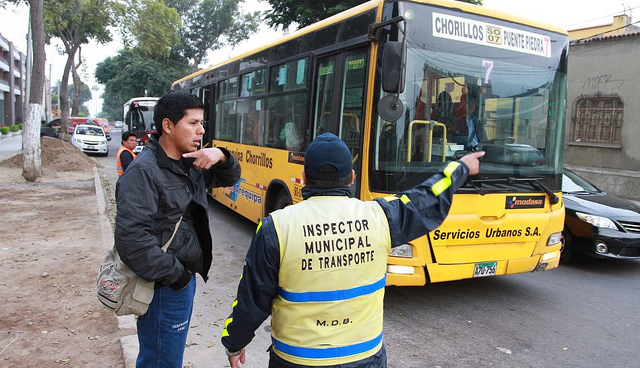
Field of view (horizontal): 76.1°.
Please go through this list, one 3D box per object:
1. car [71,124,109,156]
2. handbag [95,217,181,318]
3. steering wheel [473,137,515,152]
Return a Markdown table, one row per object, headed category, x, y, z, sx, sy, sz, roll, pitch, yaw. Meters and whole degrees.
| category | x | y | z | sx | sy | sz | roll | pitch | yaw |
| --- | --- | --- | --- | --- | --- | --- | --- | --- | --- |
| car | -14.611 | -2.787 | 25.759 | 1.525 | 1.310 | 2.864 | -1 | 3 | -29 |
| handbag | -2.123 | 0.925 | 4.421 | 0.606 | 0.847 | 0.494 | 4 | -7 | 33 |
| steering wheel | 2.880 | -0.660 | 6.711 | 0.765 | 0.255 | 0.042 | 1 | 5 | -14 |
